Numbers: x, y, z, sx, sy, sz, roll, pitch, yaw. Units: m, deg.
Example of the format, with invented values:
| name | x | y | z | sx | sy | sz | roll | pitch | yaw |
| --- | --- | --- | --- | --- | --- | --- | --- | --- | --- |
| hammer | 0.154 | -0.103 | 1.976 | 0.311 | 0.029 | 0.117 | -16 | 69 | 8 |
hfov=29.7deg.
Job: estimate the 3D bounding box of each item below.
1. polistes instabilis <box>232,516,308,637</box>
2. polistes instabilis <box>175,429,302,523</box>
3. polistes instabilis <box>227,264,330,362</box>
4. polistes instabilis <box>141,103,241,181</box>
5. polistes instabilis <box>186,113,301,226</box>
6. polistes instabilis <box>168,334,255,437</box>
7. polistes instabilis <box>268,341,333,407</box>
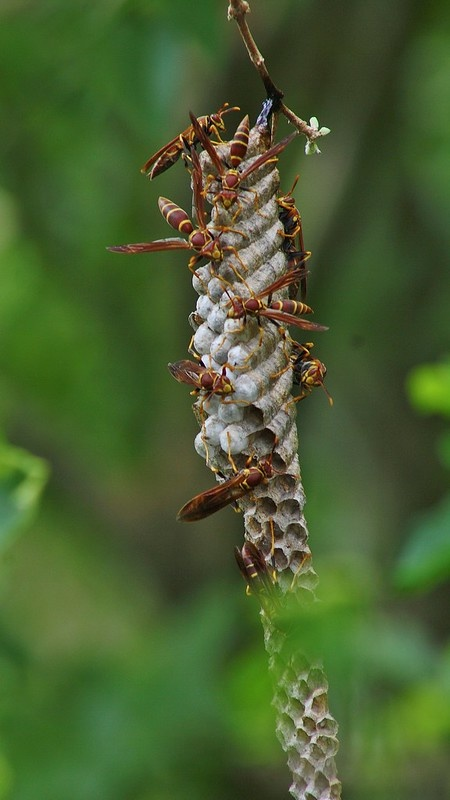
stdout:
| name | x | y | z | sx | sy | sz | roll | pitch | yaw |
| --- | --- | --- | --- | --- | --- | --- | --- | --- | --- |
| polistes instabilis | 0.063 | 0.339 | 1.673 | 0.091 | 0.180 | 0.098 | 2 | -35 | 3 |
| polistes instabilis | 0.016 | 0.164 | 1.610 | 0.199 | 0.064 | 0.143 | -32 | -43 | -11 |
| polistes instabilis | 0.087 | -0.172 | 1.600 | 0.182 | 0.138 | 0.067 | -3 | -28 | -23 |
| polistes instabilis | -0.064 | -0.539 | 1.767 | 0.228 | 0.120 | 0.075 | -28 | -69 | 6 |
| polistes instabilis | 0.020 | -0.444 | 1.657 | 0.205 | 0.195 | 0.122 | 8 | -14 | 1 |
| polistes instabilis | -0.027 | -0.031 | 1.646 | 0.050 | 0.158 | 0.135 | -11 | -70 | -32 |
| polistes instabilis | 0.160 | -0.057 | 1.726 | 0.113 | 0.160 | 0.051 | 30 | -79 | -29 |
